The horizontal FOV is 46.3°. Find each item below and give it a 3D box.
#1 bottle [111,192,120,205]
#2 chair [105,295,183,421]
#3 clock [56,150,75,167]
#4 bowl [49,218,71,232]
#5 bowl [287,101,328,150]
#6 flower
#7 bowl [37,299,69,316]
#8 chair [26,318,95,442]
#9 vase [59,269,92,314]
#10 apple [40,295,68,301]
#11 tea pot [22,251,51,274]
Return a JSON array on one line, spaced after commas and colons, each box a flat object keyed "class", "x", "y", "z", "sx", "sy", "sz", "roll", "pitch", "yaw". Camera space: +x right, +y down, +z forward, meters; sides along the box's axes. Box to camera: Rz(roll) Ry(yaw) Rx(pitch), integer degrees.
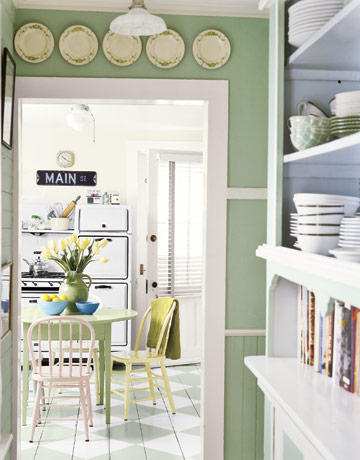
[{"class": "bottle", "x": -0.725, "y": -0.350, "z": 4.674, "sx": 0.092, "sy": 0.140, "sz": 0.096, "roll": 1, "pitch": -2, "yaw": 0}, {"class": "chair", "x": -0.303, "y": 1.006, "z": 3.378, "sx": 0.527, "sy": 0.923, "sz": 0.517, "roll": 3, "pitch": -8, "yaw": -13}, {"class": "clock", "x": -1.298, "y": -0.806, "z": 4.757, "sx": 0.203, "sy": 0.202, "sz": 0.125, "roll": 1, "pitch": -2, "yaw": -14}, {"class": "bowl", "x": -1.347, "y": -0.047, "z": 4.705, "sx": 0.150, "sy": 0.120, "sz": 0.155, "roll": 0, "pitch": -1, "yaw": 0}, {"class": "bowl", "x": 0.416, "y": -0.345, "z": 1.402, "sx": 0.117, "sy": 0.123, "sz": 0.152, "roll": -3, "pitch": 5, "yaw": -15}, {"class": "flower", "x": -0.830, "y": 0.195, "z": 3.234, "sx": 0.449, "sy": 0.279, "sz": 0.423, "roll": -2, "pitch": 6, "yaw": -15}, {"class": "bowl", "x": -0.938, "y": 0.573, "z": 3.121, "sx": 0.192, "sy": 0.122, "sz": 0.260, "roll": 1, "pitch": -2, "yaw": -14}, {"class": "chair", "x": -0.817, "y": 0.956, "z": 2.916, "sx": 0.429, "sy": 0.868, "sz": 0.423, "roll": 4, "pitch": 10, "yaw": -2}, {"class": "vase", "x": -0.804, "y": 0.498, "z": 3.293, "sx": 0.229, "sy": 0.302, "sz": 0.212, "roll": -5, "pitch": -6, "yaw": -31}, {"class": "apple", "x": -0.917, "y": 0.494, "z": 3.026, "sx": 0.106, "sy": 0.043, "sz": 0.083, "roll": 0, "pitch": -4, "yaw": -5}, {"class": "tea pot", "x": -1.595, "y": 0.377, "z": 4.653, "sx": 0.304, "sy": 0.234, "sz": 0.191, "roll": 0, "pitch": 0, "yaw": 5}]
